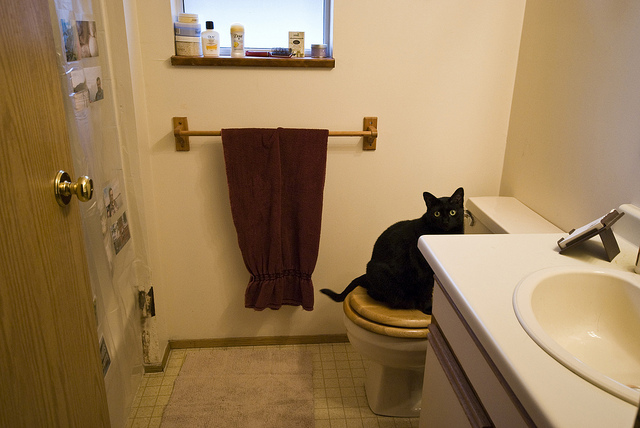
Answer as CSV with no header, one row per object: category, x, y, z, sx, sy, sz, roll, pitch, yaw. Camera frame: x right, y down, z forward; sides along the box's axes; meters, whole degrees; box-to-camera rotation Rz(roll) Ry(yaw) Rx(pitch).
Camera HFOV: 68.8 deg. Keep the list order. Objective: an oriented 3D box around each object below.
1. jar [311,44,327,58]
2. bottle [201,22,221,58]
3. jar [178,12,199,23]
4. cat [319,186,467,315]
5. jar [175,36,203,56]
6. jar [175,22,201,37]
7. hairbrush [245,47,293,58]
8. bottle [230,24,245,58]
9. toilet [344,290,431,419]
jar,0.001,-0.735,2.105,0.071,0.055,0.075,2,22,-1
bottle,-0.487,-0.777,2.086,0.084,0.154,0.085,-1,10,0
jar,-0.567,-0.840,2.006,0.082,0.035,0.053,-6,24,-16
cat,0.377,0.130,1.891,0.353,0.489,0.218,10,25,19
jar,-0.567,-0.720,2.009,0.084,0.065,0.086,7,32,-4
jar,-0.568,-0.784,1.999,0.067,0.033,0.070,5,17,-1
hairbrush,-0.224,-0.715,2.069,0.203,0.038,0.054,-2,24,-9
bottle,-0.367,-0.772,2.078,0.059,0.133,0.143,-2,24,-8
toilet,0.265,0.616,2.071,0.497,0.489,0.480,3,1,-1
